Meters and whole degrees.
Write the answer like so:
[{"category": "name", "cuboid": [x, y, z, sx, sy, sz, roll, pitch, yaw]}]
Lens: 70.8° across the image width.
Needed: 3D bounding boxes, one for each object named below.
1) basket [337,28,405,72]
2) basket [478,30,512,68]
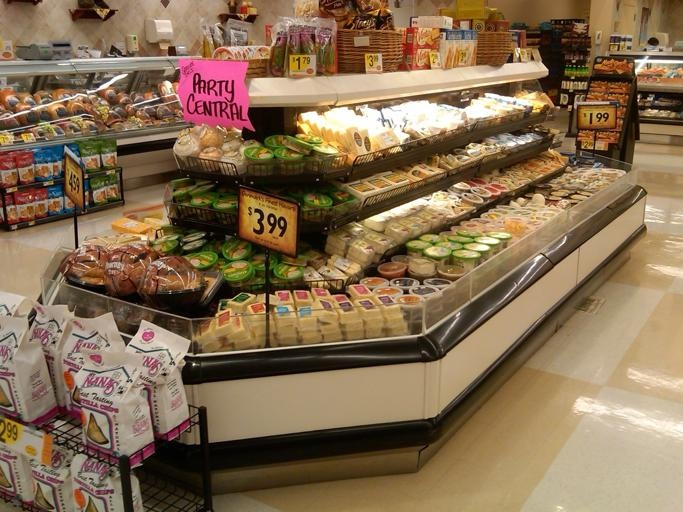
[{"category": "basket", "cuboid": [0.183, -1.297, 3.088, 0.368, 0.155, 0.416, 5, 22, 13]}, {"category": "basket", "cuboid": [1.321, -1.840, 4.275, 0.395, 0.243, 0.409, 2, 19, 10]}]
